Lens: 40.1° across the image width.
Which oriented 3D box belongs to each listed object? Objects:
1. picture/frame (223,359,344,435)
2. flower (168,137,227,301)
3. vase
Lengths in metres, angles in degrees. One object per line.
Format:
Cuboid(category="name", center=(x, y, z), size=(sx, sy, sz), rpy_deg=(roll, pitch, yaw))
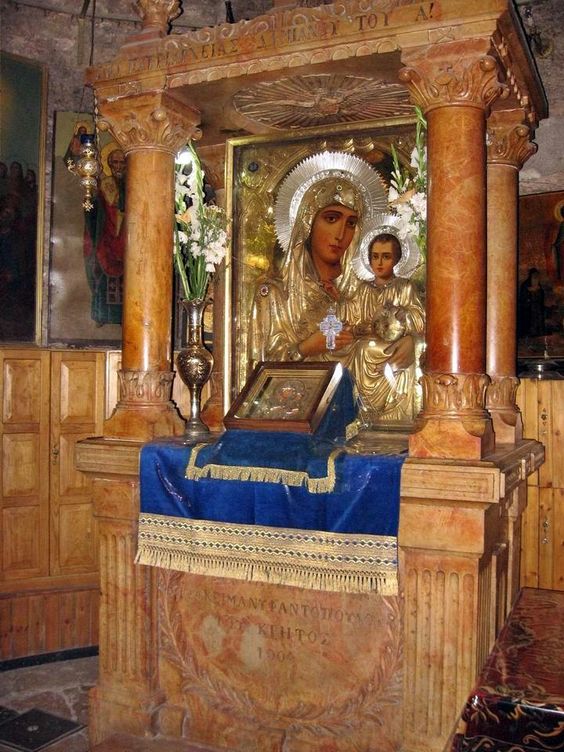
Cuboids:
Cuboid(category="picture/frame", center=(0.015, 0.081, 2.973), size=(0.465, 0.079, 0.444), rpy_deg=(-14, 35, 5))
Cuboid(category="flower", center=(-0.382, -0.644, 3.452), size=(0.273, 0.633, 0.266), rpy_deg=(11, 15, 38))
Cuboid(category="vase", center=(-0.383, -0.028, 3.368), size=(0.188, 0.590, 0.156), rpy_deg=(0, 5, -8))
